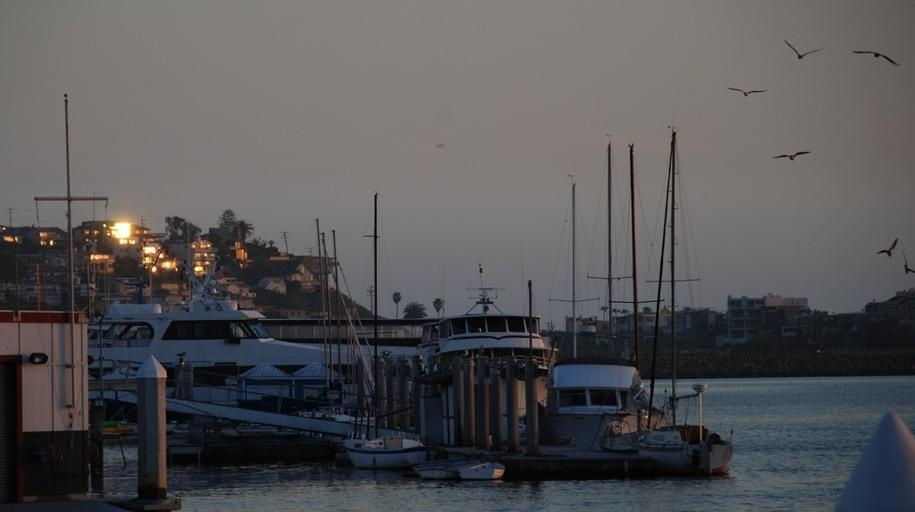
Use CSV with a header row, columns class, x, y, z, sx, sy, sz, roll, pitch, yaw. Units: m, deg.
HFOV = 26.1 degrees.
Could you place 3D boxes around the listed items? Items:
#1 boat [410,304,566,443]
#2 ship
class,x,y,z,sx,sy,sz,roll,pitch,yaw
boat,3.219,11.884,203.497,11.482,12.412,18.942,1,-5,-21
ship,-24.464,9.657,211.497,33.143,14.564,10.579,0,12,26
